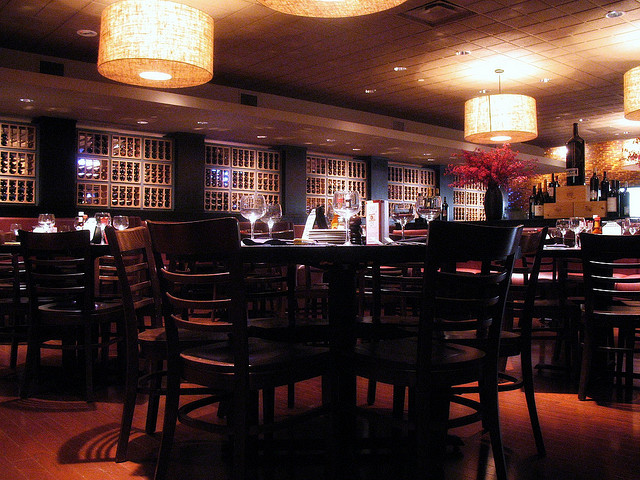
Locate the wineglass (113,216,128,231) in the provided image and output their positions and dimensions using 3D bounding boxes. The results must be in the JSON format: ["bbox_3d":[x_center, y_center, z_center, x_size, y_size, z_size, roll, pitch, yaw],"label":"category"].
[{"bbox_3d":[-1.403,-0.124,3.780,0.088,0.086,0.230,-2,3,-22],"label":"wineglass"}]

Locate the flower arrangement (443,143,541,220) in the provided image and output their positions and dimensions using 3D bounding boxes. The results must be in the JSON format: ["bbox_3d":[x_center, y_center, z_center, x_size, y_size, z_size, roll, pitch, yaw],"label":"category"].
[{"bbox_3d":[1.766,-0.609,5.571,0.740,0.797,0.554,0,3,16],"label":"flower arrangement"}]

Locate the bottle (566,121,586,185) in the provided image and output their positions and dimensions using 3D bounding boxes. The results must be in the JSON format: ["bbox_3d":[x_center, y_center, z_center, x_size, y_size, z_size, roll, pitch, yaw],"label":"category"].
[{"bbox_3d":[2.812,-0.948,5.905,0.169,0.678,0.392,0,4,24],"label":"bottle"}]

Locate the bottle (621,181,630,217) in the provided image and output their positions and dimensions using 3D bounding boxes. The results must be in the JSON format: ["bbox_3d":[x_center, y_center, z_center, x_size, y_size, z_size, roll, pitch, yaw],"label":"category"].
[{"bbox_3d":[3.254,-0.430,5.747,0.064,0.368,0.438,1,3,27],"label":"bottle"}]

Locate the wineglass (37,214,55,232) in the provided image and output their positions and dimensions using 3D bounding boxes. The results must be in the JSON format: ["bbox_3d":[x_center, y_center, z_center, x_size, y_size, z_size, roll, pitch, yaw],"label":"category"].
[{"bbox_3d":[-2.291,-0.144,4.506,0.108,0.142,0.294,-3,3,-29],"label":"wineglass"}]

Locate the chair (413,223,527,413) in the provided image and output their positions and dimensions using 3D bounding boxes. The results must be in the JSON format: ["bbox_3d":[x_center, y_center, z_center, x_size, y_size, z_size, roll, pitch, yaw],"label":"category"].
[{"bbox_3d":[0.695,0.407,2.463,0.446,0.964,0.923,0,3,20],"label":"chair"}]

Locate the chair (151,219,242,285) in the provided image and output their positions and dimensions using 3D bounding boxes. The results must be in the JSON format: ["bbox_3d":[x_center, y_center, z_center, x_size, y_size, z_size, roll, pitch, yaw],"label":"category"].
[{"bbox_3d":[-0.517,0.044,2.164,0.181,0.249,0.520,-4,4,-38],"label":"chair"}]

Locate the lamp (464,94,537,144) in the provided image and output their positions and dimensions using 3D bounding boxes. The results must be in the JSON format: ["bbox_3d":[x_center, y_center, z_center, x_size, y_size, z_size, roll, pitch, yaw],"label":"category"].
[{"bbox_3d":[2.136,-1.415,6.367,0.795,0.334,0.737,0,-1,17],"label":"lamp"}]
